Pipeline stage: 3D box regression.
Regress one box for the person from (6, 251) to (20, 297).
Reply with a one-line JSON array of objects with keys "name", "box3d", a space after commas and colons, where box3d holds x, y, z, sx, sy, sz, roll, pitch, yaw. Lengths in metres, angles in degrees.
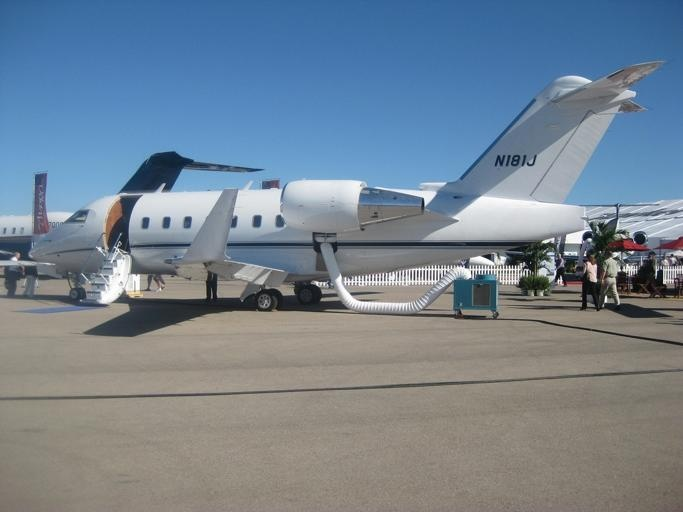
[{"name": "person", "box3d": [-11.563, 0.788, 20.359, 0.496, 1.286, 1.498, -4, 6, -29]}]
